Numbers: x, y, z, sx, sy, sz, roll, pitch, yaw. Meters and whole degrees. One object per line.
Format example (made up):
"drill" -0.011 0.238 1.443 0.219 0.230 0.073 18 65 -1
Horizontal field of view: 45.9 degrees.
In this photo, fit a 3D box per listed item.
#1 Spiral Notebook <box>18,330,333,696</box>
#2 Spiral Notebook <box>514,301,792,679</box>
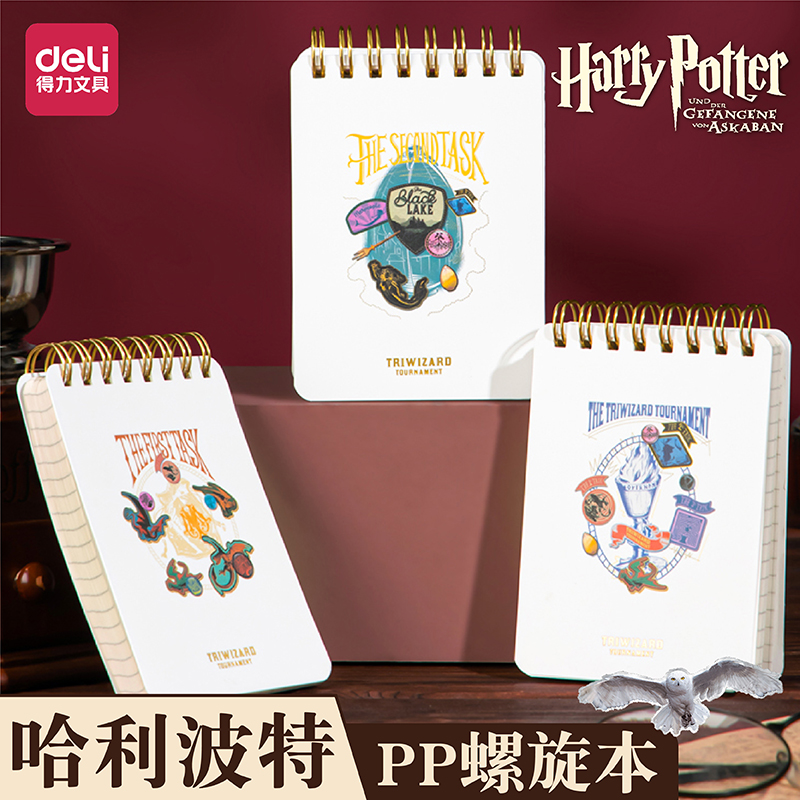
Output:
"Spiral Notebook" -0.226 0.109 0.933 0.217 0.087 0.385 1 57 -49
"Spiral Notebook" 0.246 0.097 0.929 0.253 0.314 0.216 1 27 13
